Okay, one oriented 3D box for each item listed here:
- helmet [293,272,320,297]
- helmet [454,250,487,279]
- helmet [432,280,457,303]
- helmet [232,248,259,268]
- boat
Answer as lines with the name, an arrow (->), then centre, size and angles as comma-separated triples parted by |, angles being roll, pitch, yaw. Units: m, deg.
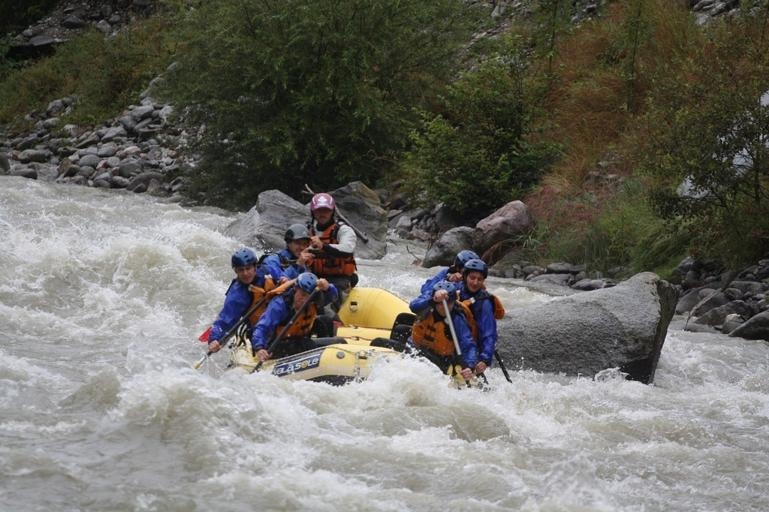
helmet -> -1.259, 0.436, 14.069 | 0.364, 0.317, 0.261 | 10, 12, -9
helmet -> 1.418, 0.079, 14.549 | 0.346, 0.451, 0.411 | 2, 51, -25
helmet -> 0.961, 0.573, 13.886 | 0.404, 0.349, 0.393 | 12, 12, 1
helmet -> -2.335, 0.080, 14.507 | 0.288, 0.370, 0.338 | 1, 33, -5
boat -> -0.680, 1.230, 14.356 | 3.017, 1.426, 2.671 | 5, 14, -29
